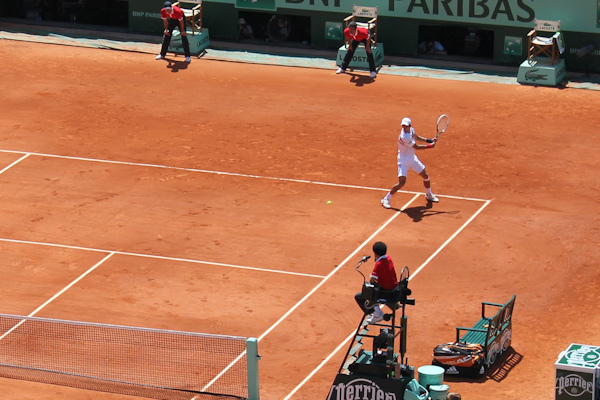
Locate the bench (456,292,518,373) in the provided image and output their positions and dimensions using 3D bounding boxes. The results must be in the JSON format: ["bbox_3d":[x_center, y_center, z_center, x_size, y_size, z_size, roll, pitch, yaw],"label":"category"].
[{"bbox_3d":[3.892,2.816,16.571,0.607,0.783,1.454,13,23,29],"label":"bench"}]

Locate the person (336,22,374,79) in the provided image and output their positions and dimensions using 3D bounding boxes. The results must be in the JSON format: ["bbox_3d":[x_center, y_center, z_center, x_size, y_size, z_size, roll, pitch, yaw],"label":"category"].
[{"bbox_3d":[2.198,-5.691,30.231,1.665,1.977,0.853,9,18,20],"label":"person"}]

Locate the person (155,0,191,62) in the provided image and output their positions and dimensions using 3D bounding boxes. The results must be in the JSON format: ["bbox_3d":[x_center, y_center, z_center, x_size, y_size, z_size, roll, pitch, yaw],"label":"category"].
[{"bbox_3d":[-4.939,-6.516,31.098,1.426,2.254,0.900,4,17,0],"label":"person"}]
